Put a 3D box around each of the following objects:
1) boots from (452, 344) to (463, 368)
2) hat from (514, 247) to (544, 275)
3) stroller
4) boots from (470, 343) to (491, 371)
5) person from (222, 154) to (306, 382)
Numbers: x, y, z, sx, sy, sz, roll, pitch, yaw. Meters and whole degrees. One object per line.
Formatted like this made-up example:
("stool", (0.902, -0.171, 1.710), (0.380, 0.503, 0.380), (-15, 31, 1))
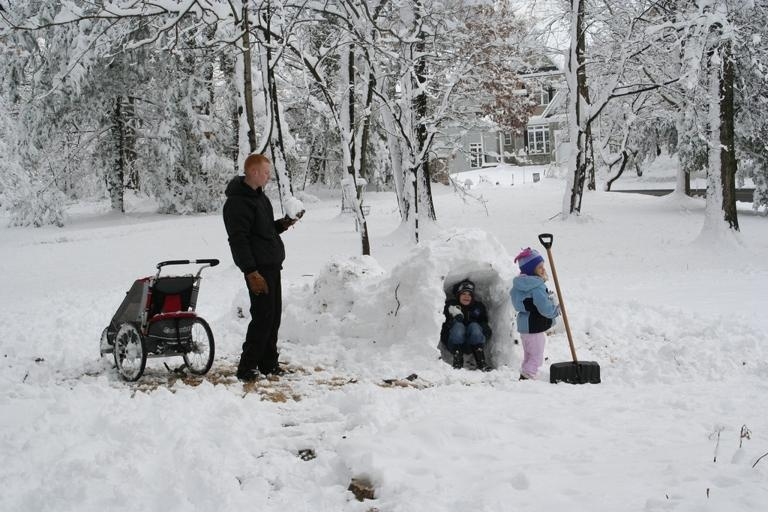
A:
("boots", (1.134, 1.569, 10.581), (0.159, 0.397, 0.592), (-1, 5, 5))
("hat", (2.069, 0.046, 9.775), (0.397, 0.414, 0.311), (-1, 16, 17))
("stroller", (-3.366, 0.950, 9.749), (2.336, 1.571, 1.048), (-2, -2, 43))
("boots", (1.496, 1.549, 10.597), (0.281, 0.412, 0.878), (0, 5, 8))
("person", (-1.643, 0.141, 9.148), (0.861, 2.998, 0.577), (-6, 7, -40))
